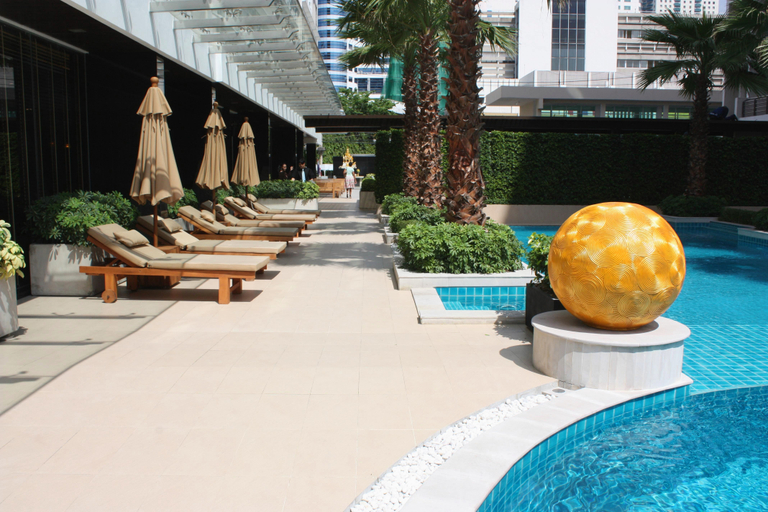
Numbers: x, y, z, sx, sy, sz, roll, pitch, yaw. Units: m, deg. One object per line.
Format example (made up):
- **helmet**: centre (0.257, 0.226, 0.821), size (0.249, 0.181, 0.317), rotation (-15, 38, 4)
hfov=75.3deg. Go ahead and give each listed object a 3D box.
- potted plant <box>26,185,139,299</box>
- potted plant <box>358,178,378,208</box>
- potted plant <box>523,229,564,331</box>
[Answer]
- **potted plant**: centre (-6.030, -0.274, 9.237), size (2.290, 2.137, 1.872), rotation (0, 3, -2)
- **potted plant**: centre (-1.074, -3.280, 26.032), size (1.403, 2.007, 2.160), rotation (0, 4, 0)
- **potted plant**: centre (2.197, 0.377, 6.907), size (0.456, 1.284, 1.261), rotation (5, 12, 14)
